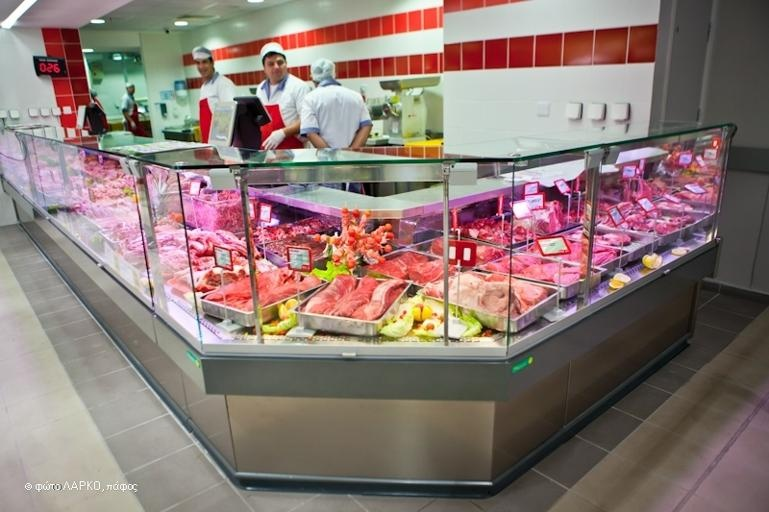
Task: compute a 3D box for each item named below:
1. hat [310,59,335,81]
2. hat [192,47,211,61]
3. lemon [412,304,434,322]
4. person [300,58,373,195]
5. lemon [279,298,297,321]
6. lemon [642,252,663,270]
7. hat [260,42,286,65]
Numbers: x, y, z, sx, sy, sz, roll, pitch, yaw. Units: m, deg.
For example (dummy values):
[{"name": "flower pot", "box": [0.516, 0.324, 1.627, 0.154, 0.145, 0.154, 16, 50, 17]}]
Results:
[{"name": "hat", "box": [-0.625, -1.927, 5.305, 0.204, 0.240, 0.255, 11, 22, 22]}, {"name": "hat", "box": [-2.119, -2.352, 5.948, 0.181, 0.160, 0.233, -10, 20, -19]}, {"name": "lemon", "box": [0.227, 0.336, 3.029, 0.099, 0.092, 0.098, -3, 2, -7]}, {"name": "person", "box": [-0.511, -1.213, 5.630, 0.755, 1.801, 0.607, -9, 32, -14]}, {"name": "lemon", "box": [-0.575, 0.315, 3.033, 0.100, 0.122, 0.047, 25, 2, 3]}, {"name": "lemon", "box": [1.899, 0.039, 3.623, 0.112, 0.072, 0.120, -2, 9, 25]}, {"name": "hat", "box": [-1.186, -2.166, 5.425, 0.213, 0.203, 0.346, -8, 19, -15]}]
